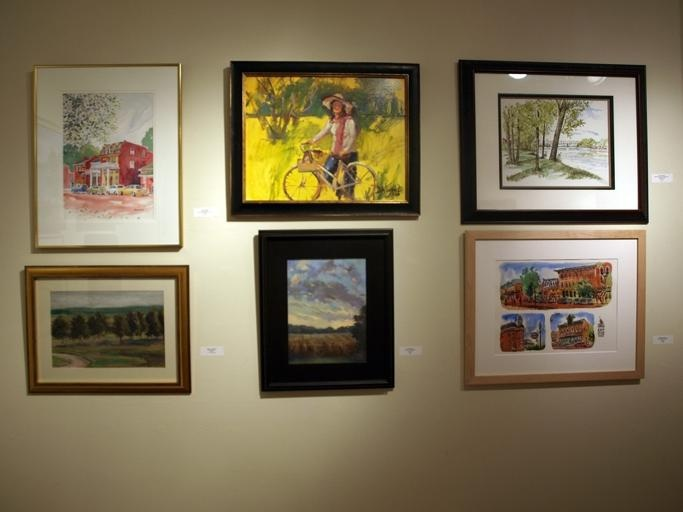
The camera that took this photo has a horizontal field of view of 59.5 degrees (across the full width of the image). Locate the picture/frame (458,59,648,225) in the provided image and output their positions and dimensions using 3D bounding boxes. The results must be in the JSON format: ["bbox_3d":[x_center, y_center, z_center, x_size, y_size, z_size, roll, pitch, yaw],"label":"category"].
[{"bbox_3d":[1.288,-0.723,3.788,0.929,0.879,0.082,-1,2,-1],"label":"picture/frame"}]

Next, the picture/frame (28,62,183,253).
[{"bbox_3d":[-1.453,-0.639,3.710,1.004,1.379,0.056,1,1,-1],"label":"picture/frame"}]

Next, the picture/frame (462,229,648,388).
[{"bbox_3d":[1.303,0.312,3.794,0.898,0.838,0.035,0,-2,-6],"label":"picture/frame"}]

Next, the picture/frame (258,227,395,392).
[{"bbox_3d":[-0.114,0.323,3.725,0.898,1.171,0.080,-1,1,1],"label":"picture/frame"}]

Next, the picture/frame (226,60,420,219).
[{"bbox_3d":[-0.159,-0.741,3.718,0.874,0.780,0.042,0,3,-1],"label":"picture/frame"}]

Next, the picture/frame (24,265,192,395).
[{"bbox_3d":[-1.417,0.448,3.726,0.713,0.663,0.040,-1,-1,-2],"label":"picture/frame"}]
